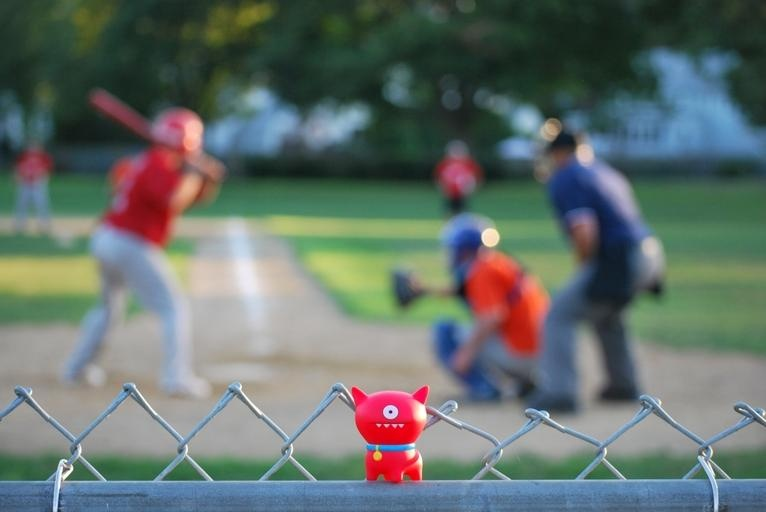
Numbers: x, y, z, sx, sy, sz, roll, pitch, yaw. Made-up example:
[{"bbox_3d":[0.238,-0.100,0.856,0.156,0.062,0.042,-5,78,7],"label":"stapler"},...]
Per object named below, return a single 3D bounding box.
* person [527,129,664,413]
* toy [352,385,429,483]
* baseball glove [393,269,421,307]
[{"bbox_3d":[1.874,0.160,18.049,1.077,2.388,0.484,1,13,7],"label":"person"},{"bbox_3d":[0.104,1.396,15.869,0.575,0.723,0.776,-1,-8,15],"label":"toy"},{"bbox_3d":[0.195,0.277,17.743,0.280,0.109,0.281,38,16,22],"label":"baseball glove"}]
